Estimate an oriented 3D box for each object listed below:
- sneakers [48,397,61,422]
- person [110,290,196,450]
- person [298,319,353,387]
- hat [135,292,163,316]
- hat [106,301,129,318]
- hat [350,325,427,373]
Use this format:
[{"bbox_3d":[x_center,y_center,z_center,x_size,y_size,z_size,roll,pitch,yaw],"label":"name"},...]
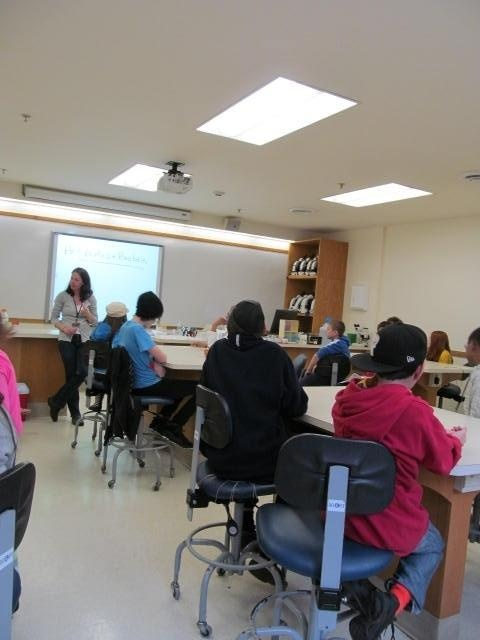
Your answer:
[{"bbox_3d":[-1.890,0.897,4.715,0.108,0.256,0.328,4,0,-22],"label":"sneakers"},{"bbox_3d":[-0.569,0.368,3.349,0.603,1.108,0.471,3,0,-26],"label":"person"},{"bbox_3d":[0.865,0.500,4.756,0.532,0.977,0.483,-1,-14,22],"label":"person"},{"bbox_3d":[-0.607,-0.102,3.108,0.144,0.177,0.182,-1,4,-11],"label":"hat"},{"bbox_3d":[-1.095,-0.093,4.123,0.137,0.087,0.153,-2,7,-11],"label":"hat"},{"bbox_3d":[0.426,0.085,1.349,0.188,0.103,0.133,1,4,3],"label":"hat"}]
